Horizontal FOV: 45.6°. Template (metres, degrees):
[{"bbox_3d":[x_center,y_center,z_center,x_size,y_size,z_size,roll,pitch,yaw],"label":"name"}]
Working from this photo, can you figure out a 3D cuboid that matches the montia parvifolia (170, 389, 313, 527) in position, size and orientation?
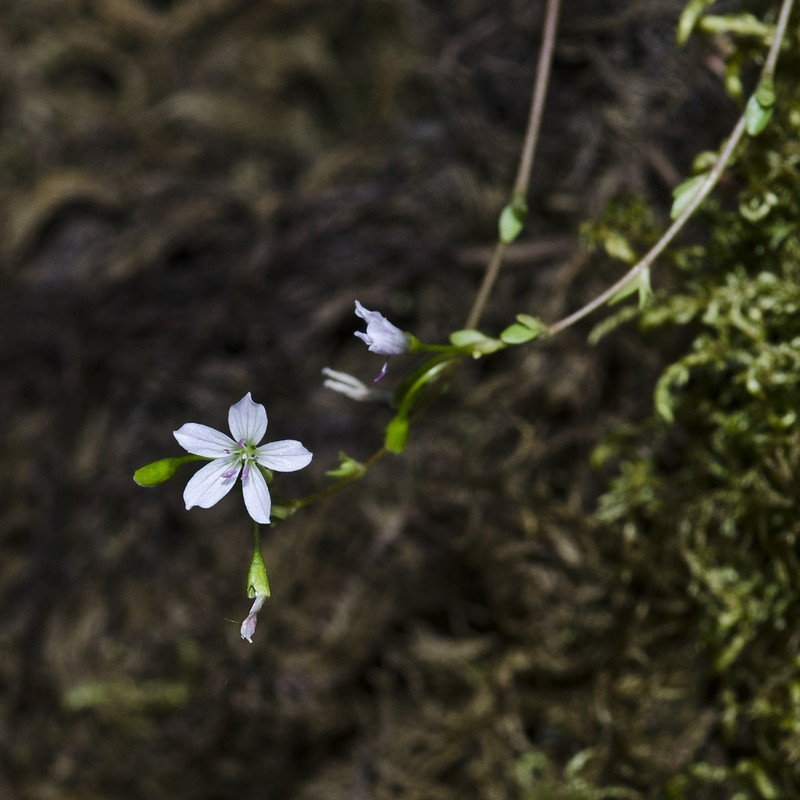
[{"bbox_3d":[-0.167,0.064,1.126,0.125,0.136,0.039,38,59,-5],"label":"montia parvifolia"}]
